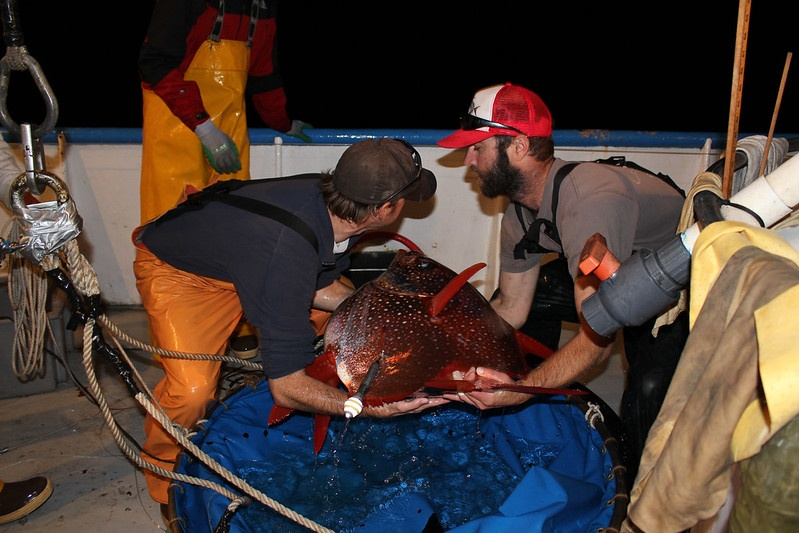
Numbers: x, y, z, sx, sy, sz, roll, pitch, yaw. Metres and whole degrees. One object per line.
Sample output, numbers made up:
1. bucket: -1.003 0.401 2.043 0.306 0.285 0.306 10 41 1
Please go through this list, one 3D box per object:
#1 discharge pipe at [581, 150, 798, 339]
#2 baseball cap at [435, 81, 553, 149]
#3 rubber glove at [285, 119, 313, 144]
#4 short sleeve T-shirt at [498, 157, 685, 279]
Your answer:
1. discharge pipe: 1.078 -0.063 2.574 0.800 0.631 0.273 -4 21 -13
2. baseball cap: 0.524 -0.775 3.623 0.414 0.277 0.331 -1 15 2
3. rubber glove: -0.683 -0.909 4.769 0.170 0.124 0.064 11 -10 -19
4. short sleeve T-shirt: 1.010 -0.300 3.616 0.595 0.681 0.755 -3 15 -13
